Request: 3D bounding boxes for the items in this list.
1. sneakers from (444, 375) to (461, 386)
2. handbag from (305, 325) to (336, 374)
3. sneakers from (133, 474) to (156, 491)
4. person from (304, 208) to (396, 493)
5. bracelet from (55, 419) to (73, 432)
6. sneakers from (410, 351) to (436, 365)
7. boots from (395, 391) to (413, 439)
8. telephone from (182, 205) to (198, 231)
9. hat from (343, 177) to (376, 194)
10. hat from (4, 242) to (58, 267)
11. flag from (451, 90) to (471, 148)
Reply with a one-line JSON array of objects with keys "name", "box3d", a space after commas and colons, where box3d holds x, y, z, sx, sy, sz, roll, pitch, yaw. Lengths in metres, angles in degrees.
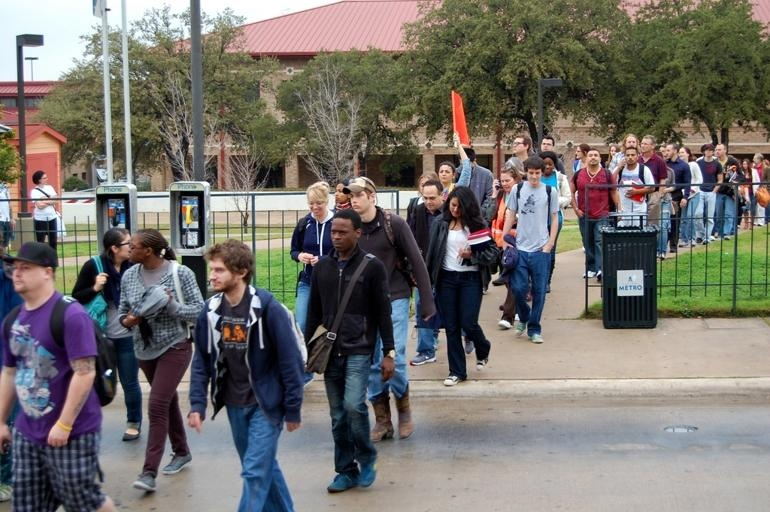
[{"name": "sneakers", "box3d": [0.949, 1.796, 14.478, 0.106, 0.115, 0.278, -4, -8, 36]}, {"name": "handbag", "box3d": [-0.770, 1.134, 12.034, 0.317, 0.519, 0.442, 22, -14, -9]}, {"name": "sneakers", "box3d": [-2.897, 2.739, 12.179, 0.133, 0.134, 0.343, 7, -20, 8]}, {"name": "person", "box3d": [-0.431, 1.131, 12.135, 1.033, 3.381, 0.460, -4, 3, -6]}, {"name": "bracelet", "box3d": [-3.413, 1.819, 10.722, 0.136, 0.051, 0.139, 21, -13, 35]}, {"name": "sneakers", "box3d": [0.572, 1.573, 15.430, 0.431, 0.184, 0.152, 1, -3, -26]}, {"name": "boots", "box3d": [0.243, 2.098, 13.309, 0.201, 0.588, 0.311, -4, 2, 0]}, {"name": "telephone", "box3d": [-3.049, -0.613, 15.900, 0.205, 0.245, 0.072, -4, 3, -6]}, {"name": "hat", "box3d": [-0.326, -0.941, 13.221, 0.337, 0.169, 0.220, 7, -8, -39]}, {"name": "hat", "box3d": [-3.791, -0.004, 10.917, 0.417, 0.196, 0.285, 4, -2, -21]}, {"name": "flag", "box3d": [1.327, -2.509, 18.268, 0.088, 1.023, 0.563, -11, 17, -38]}]
